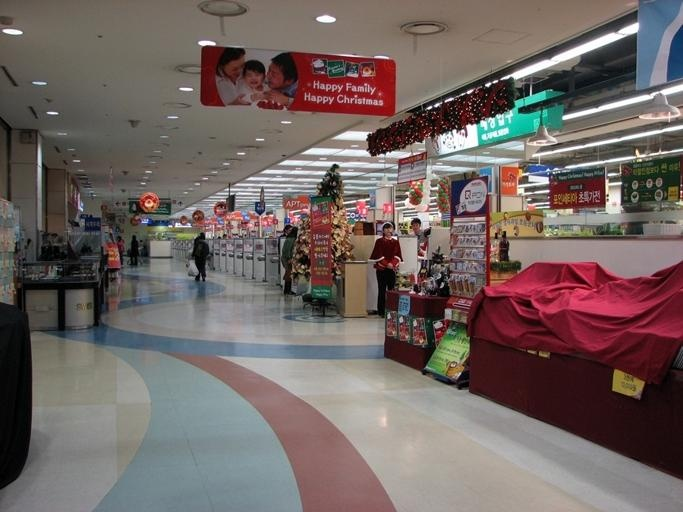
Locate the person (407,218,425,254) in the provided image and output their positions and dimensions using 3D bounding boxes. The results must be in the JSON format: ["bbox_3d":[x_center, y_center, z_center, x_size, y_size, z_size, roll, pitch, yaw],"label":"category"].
[{"bbox_3d":[1.706,-0.430,10.537,0.294,0.870,1.003,1,3,8],"label":"person"}]

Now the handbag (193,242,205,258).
[{"bbox_3d":[-5.223,-0.205,17.400,0.451,0.472,0.277,1,3,-4],"label":"handbag"}]

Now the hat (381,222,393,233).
[{"bbox_3d":[0.909,-0.545,9.160,0.150,0.190,0.208,2,-8,-2],"label":"hat"}]

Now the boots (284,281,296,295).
[{"bbox_3d":[-1.453,0.903,13.572,0.329,0.595,0.374,-2,2,-13],"label":"boots"}]
